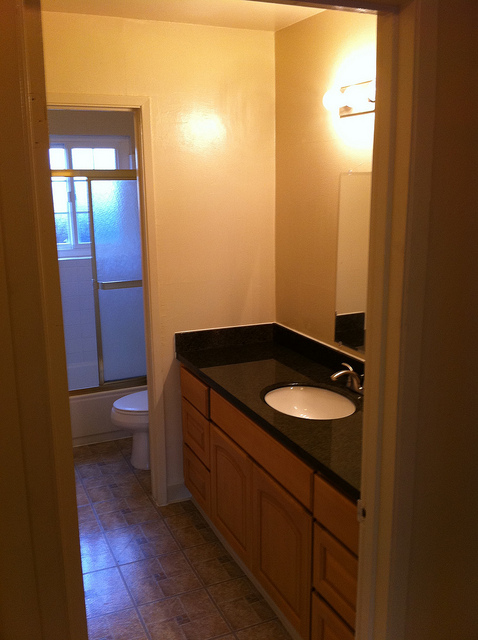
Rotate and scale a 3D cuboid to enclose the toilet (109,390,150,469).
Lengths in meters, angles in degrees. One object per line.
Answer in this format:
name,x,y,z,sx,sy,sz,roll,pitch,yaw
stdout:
toilet,-0.687,0.695,3.460,0.231,0.440,0.444,-3,10,-13
